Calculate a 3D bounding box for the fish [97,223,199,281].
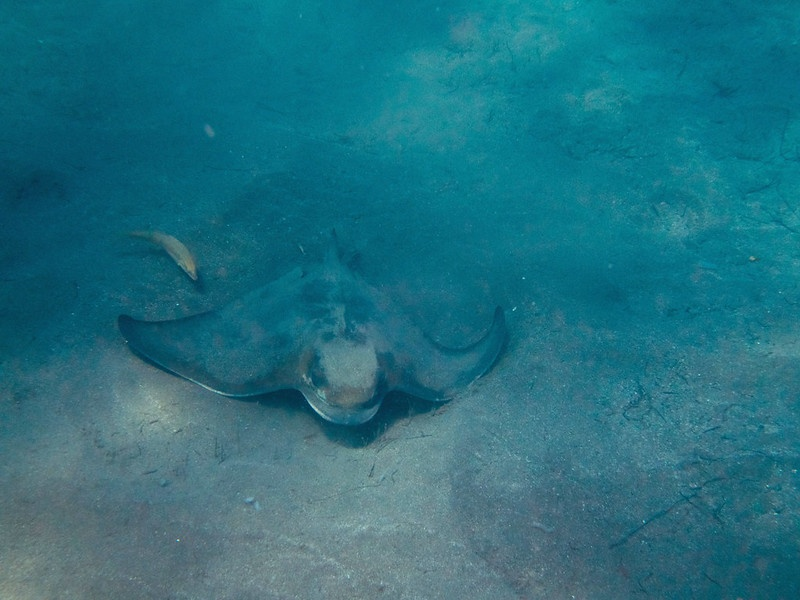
[{"bbox_3d":[-5.457,-1.072,19.253,2.001,0.892,0.749,34,37,5],"label":"fish"}]
